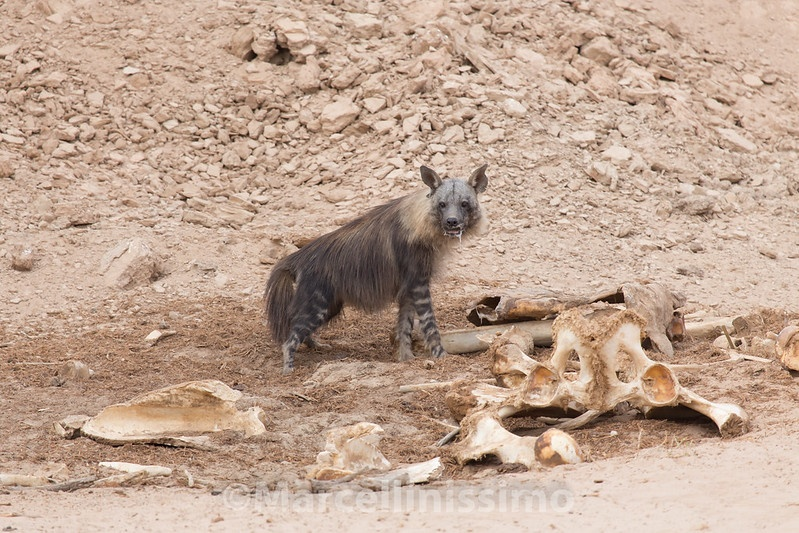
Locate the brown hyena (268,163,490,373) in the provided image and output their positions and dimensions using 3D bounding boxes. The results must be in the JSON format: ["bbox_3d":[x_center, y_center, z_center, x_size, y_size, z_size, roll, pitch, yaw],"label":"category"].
[{"bbox_3d":[-0.209,0.122,17.282,3.130,1.206,2.332,-4,80,4],"label":"brown hyena"}]
